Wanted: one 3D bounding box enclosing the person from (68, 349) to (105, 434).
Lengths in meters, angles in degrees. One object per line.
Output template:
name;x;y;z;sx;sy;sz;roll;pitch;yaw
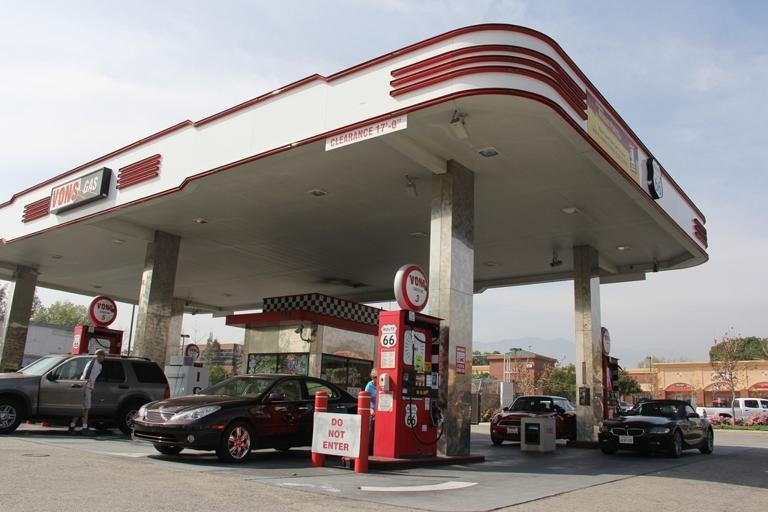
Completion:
person;-7.857;3.587;14.709;1.123;2.103;0.542;-9;-17;35

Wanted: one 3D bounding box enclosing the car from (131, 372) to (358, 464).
car;-3.089;3.556;12.335;4.066;1.815;1.380;13;-18;-39

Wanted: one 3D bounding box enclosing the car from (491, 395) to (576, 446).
car;5.086;5.419;18.258;2.664;1.091;1.597;16;-22;-41

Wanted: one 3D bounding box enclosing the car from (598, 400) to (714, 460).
car;7.941;4.950;15.700;3.401;1.110;1.614;24;-31;-39

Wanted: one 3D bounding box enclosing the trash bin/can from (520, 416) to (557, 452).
trash bin/can;4.560;5.186;16.336;1.007;1.003;0.994;-4;-10;31
